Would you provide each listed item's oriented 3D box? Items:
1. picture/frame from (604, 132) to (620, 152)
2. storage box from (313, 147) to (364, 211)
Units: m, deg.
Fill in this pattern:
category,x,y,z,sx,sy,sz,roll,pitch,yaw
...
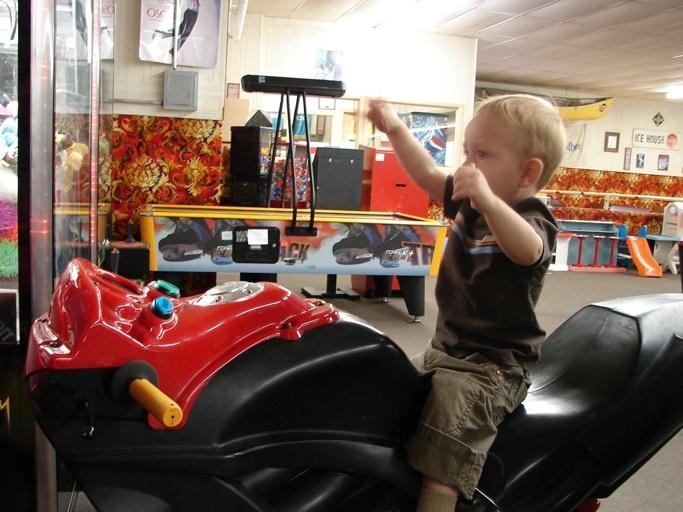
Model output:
category,x,y,z,sx,sy,sz,roll,pitch,yaw
picture/frame,5.310,-2.256,10.321,0.367,0.428,0.030,7,-3,-11
storage box,-0.060,-0.697,4.547,0.472,0.538,0.438,-6,23,-27
